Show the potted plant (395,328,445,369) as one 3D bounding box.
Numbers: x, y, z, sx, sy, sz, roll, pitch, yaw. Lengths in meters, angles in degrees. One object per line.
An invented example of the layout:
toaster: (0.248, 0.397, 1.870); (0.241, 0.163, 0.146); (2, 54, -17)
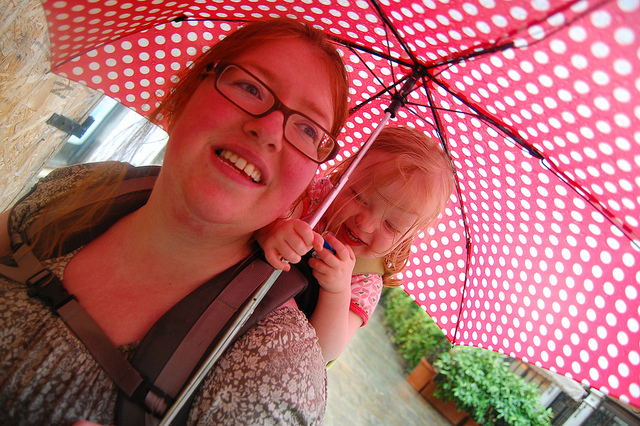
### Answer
potted plant: (2.161, 2.840, 10.026); (0.778, 1.144, 0.944); (2, 0, -6)

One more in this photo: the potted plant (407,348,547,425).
potted plant: (2.814, 3.043, 8.093); (1.172, 1.426, 0.806); (-9, -42, 11)

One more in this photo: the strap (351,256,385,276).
strap: (0.355, 0.371, 3.372); (0.190, 0.178, 0.137); (-2, 1, 32)
